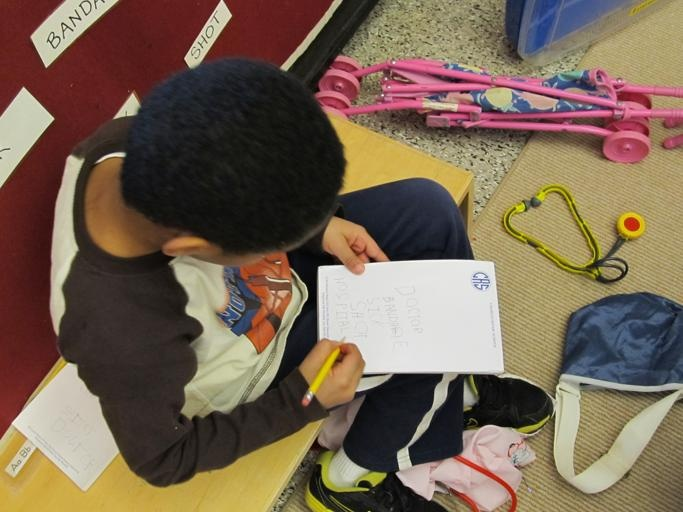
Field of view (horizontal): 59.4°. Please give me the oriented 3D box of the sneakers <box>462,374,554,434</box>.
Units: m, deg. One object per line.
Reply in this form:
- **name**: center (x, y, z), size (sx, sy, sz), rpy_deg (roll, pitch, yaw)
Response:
- **sneakers**: center (0.404, 0.382, 1.547), size (0.253, 0.114, 0.126), rpy_deg (-3, 70, 6)
